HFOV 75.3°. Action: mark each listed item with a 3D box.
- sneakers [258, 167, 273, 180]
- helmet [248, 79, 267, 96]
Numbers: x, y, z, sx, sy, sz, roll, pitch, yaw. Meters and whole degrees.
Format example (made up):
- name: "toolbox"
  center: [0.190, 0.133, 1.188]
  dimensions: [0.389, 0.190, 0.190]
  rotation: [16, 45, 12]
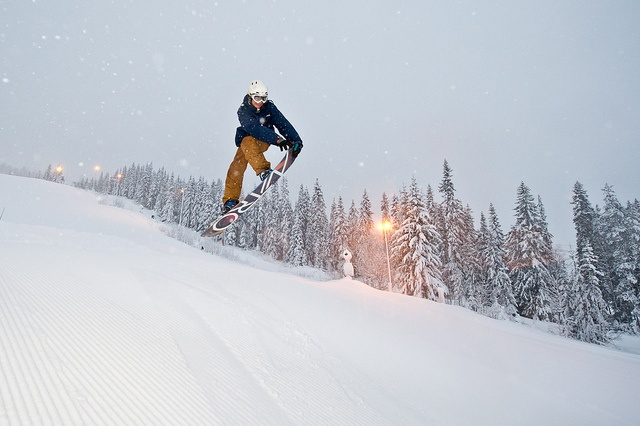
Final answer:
- name: "sneakers"
  center: [-1.296, -0.929, 9.873]
  dimensions: [0.265, 0.333, 0.220]
  rotation: [4, -10, 29]
- name: "helmet"
  center: [-1.508, -3.025, 10.059]
  dimensions: [0.435, 0.333, 0.390]
  rotation: [9, -9, -1]
